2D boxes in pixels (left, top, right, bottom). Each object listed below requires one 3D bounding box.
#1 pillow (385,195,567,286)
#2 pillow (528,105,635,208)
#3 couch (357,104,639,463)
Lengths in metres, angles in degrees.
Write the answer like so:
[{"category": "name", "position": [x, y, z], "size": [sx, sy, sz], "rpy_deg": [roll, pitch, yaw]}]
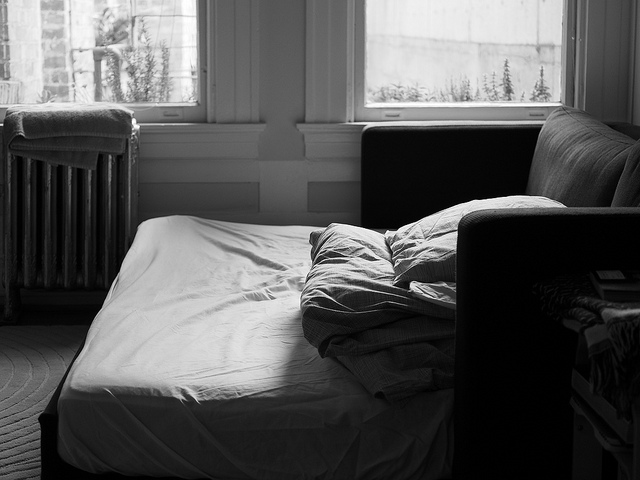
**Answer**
[{"category": "pillow", "position": [0.426, 0.076, 1.657], "size": [0.369, 0.114, 0.339], "rpy_deg": [-21, 19, 18]}, {"category": "pillow", "position": [0.913, -0.288, 2.082], "size": [0.163, 0.309, 0.473], "rpy_deg": [15, 26, -4]}, {"category": "couch", "position": [0.467, 0.088, 1.534], "size": [0.433, 0.437, 1.023], "rpy_deg": [0, 29, 7]}]
